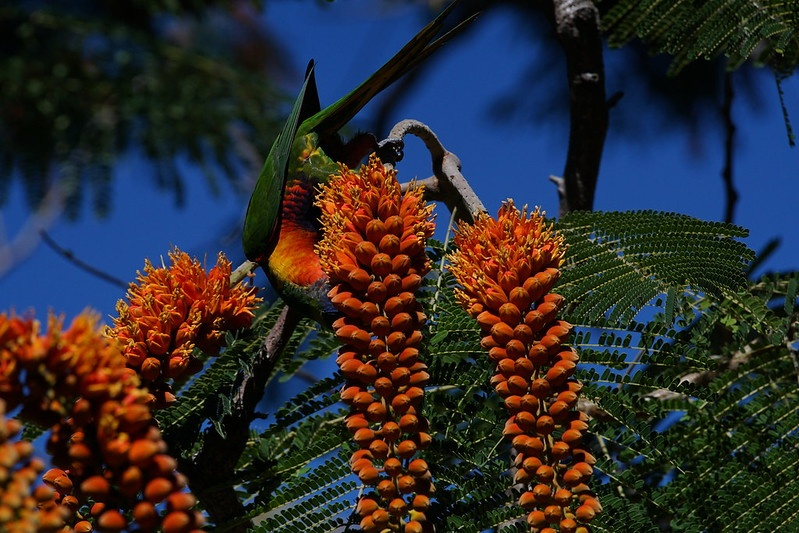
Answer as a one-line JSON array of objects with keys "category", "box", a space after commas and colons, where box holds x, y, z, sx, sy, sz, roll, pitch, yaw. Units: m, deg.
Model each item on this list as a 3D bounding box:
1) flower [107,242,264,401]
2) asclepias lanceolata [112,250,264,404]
[{"category": "flower", "box": [-0.980, 0.178, 6.072, 0.514, 0.786, 0.412, -20, -76, -1]}, {"category": "asclepias lanceolata", "box": [-0.959, 0.311, 5.815, 0.447, 0.570, 0.348, -22, -74, 53]}]
